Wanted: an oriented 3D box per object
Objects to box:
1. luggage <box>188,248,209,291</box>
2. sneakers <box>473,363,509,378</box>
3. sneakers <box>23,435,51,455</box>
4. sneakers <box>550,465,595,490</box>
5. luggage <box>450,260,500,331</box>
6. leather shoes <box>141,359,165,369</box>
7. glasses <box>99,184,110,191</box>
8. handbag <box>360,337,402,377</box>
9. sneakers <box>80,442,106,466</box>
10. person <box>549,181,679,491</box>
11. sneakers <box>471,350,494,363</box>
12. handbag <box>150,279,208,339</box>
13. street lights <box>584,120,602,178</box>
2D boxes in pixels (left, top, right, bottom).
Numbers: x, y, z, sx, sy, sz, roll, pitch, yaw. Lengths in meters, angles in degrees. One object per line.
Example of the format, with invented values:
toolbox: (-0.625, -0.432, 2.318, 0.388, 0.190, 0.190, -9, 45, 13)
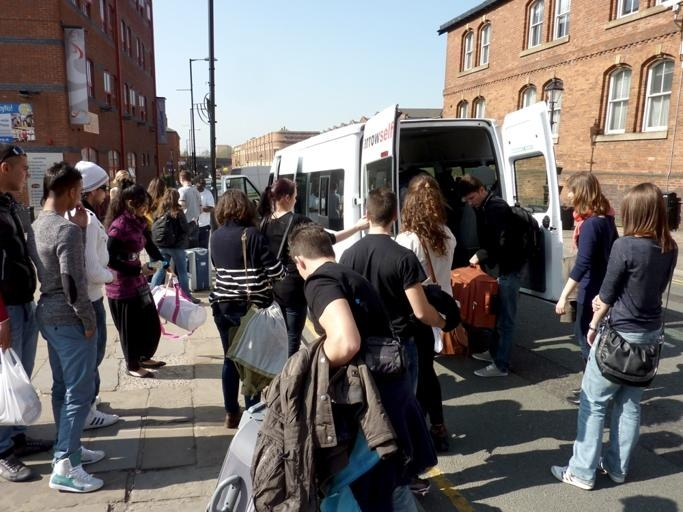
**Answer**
luggage: (-2.712, 0.164, 10.474, 0.491, 0.842, 0.524, 2, 20, -14)
sneakers: (1.815, 1.356, 6.758, 0.455, 0.205, 0.169, 1, 2, 3)
sneakers: (-2.862, 1.760, 5.157, 0.246, 0.190, 0.085, -5, 28, -21)
sneakers: (2.038, 1.947, 4.862, 0.128, 0.154, 0.358, -9, 19, -29)
luggage: (1.765, 0.480, 6.657, 0.393, 0.711, 0.828, 5, 5, 12)
leather shoes: (-2.366, 1.346, 6.933, 0.306, 0.135, 0.109, -10, -2, 12)
glasses: (-2.458, -0.706, 5.679, 0.084, 0.044, 0.117, -2, 4, -22)
handbag: (0.272, 0.653, 3.805, 0.306, 0.334, 0.188, 7, -34, -5)
sneakers: (-2.301, 1.807, 5.078, 0.314, 0.148, 0.112, -4, 15, -22)
person: (2.374, 0.701, 4.723, 0.900, 2.601, 0.577, -4, 8, -16)
sneakers: (1.836, 1.283, 7.173, 0.099, 0.132, 0.288, 1, 5, -38)
handbag: (-2.132, 0.699, 7.126, 0.672, 0.619, 0.404, 11, 26, 37)
street lights: (9.266, -4.017, 20.163, 0.425, 1.854, 0.764, 1, 8, 24)
